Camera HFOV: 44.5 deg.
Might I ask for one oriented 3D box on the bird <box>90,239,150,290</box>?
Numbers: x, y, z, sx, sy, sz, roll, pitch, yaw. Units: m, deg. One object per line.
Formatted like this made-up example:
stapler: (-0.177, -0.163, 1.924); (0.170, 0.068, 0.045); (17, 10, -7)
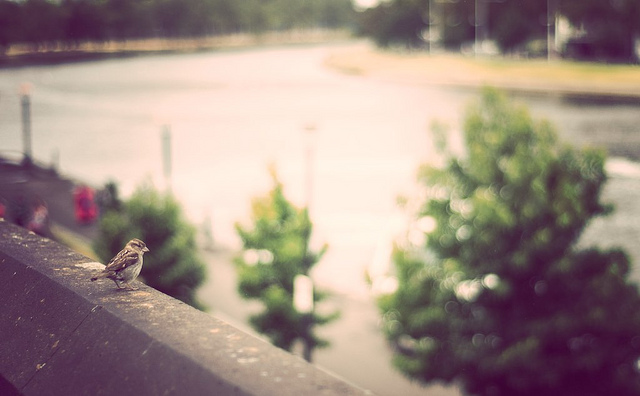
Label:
bird: (-2.046, 0.707, 8.111); (0.524, 0.492, 0.217); (-7, 16, -15)
